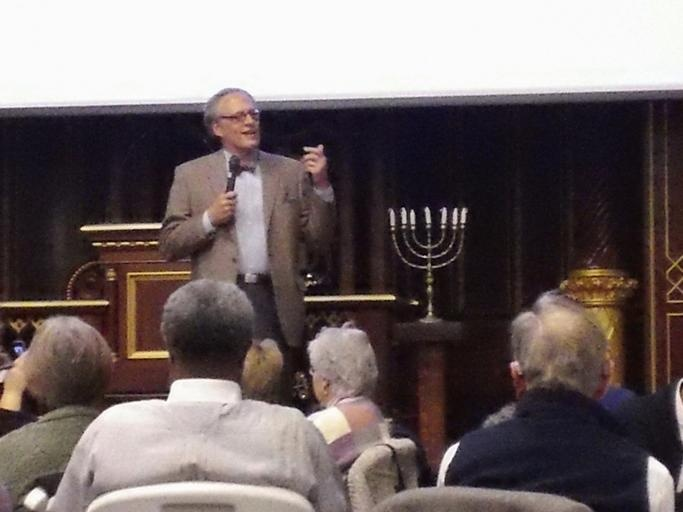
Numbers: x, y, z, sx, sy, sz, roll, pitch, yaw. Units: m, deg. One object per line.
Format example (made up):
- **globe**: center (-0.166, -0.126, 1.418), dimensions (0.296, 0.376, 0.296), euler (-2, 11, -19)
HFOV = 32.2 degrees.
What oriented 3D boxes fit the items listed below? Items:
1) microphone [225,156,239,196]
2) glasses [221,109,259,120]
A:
- **microphone**: center (-0.546, -0.415, 6.024), dimensions (0.073, 0.190, 0.225), euler (1, -1, -5)
- **glasses**: center (-0.519, -0.720, 6.048), dimensions (0.201, 0.069, 0.085), euler (1, -1, -8)
